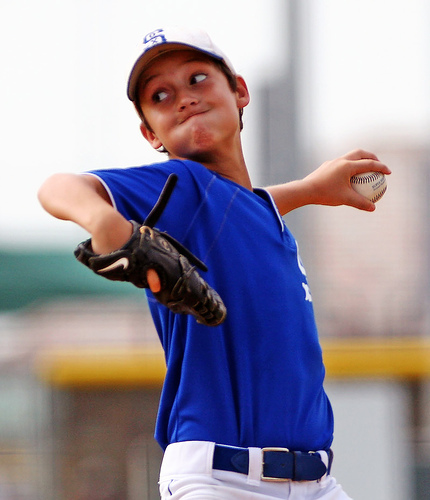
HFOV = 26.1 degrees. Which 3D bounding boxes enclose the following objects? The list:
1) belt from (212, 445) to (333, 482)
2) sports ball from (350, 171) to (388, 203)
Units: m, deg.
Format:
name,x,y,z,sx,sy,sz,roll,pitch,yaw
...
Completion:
name,x,y,z,sx,sy,sz,roll,pitch,yaw
belt,0.217,0.689,2.961,0.388,0.090,0.383,9,-16,-22
sports ball,0.614,-0.248,3.687,0.137,0.111,0.127,-1,7,0
